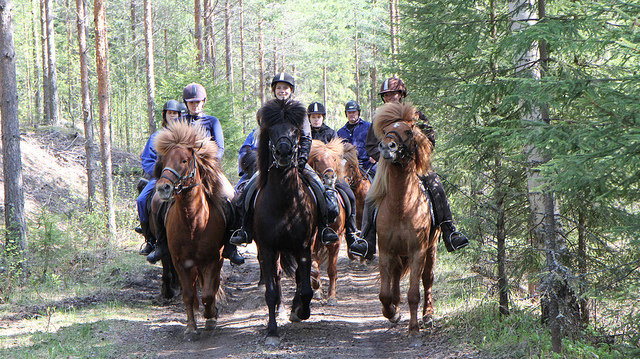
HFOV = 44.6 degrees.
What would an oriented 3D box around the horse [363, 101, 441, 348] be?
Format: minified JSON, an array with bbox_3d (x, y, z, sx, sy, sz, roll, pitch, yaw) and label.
[{"bbox_3d":[3.356,1.700,30.643,2.382,9.406,1.474,-1,2,-12],"label":"horse"}]

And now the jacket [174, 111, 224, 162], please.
[{"bbox_3d":[-4.942,-1.693,31.341,1.809,2.279,1.258,-5,8,7],"label":"jacket"}]

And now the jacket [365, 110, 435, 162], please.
[{"bbox_3d":[2.797,-1.496,32.252,1.942,2.456,0.960,-9,-27,32],"label":"jacket"}]

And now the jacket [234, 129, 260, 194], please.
[{"bbox_3d":[-3.193,-0.790,33.386,0.954,2.655,2.008,-1,2,-6],"label":"jacket"}]

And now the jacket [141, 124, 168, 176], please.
[{"bbox_3d":[-6.908,-0.983,33.271,0.829,3.252,1.645,2,2,2],"label":"jacket"}]
